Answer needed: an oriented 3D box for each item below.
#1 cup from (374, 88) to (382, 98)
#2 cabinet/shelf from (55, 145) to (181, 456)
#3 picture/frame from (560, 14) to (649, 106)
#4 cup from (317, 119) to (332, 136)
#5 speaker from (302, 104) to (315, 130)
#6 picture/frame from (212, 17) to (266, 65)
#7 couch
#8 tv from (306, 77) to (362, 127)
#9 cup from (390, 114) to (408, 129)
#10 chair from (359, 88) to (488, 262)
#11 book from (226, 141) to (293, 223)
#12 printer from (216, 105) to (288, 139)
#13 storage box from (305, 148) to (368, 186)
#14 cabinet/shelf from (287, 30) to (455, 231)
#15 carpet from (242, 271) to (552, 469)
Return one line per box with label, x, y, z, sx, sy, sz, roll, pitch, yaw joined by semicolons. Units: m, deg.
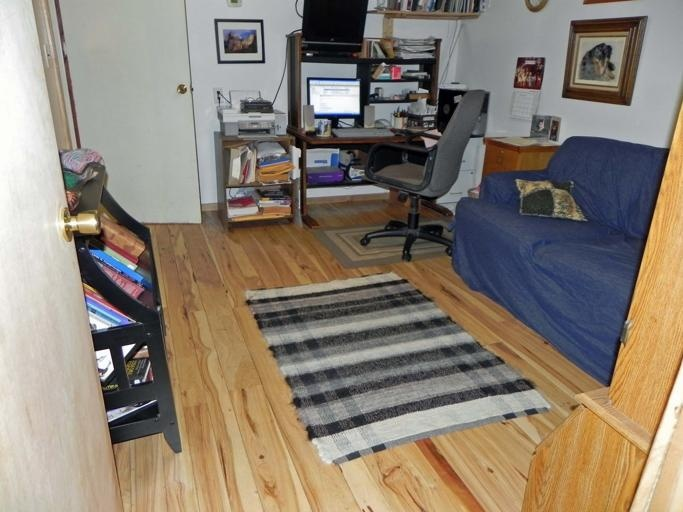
cup;0.321;-1.487;4.503;0.061;0.100;0.069;10;65;-4
cabinet/shelf;-0.912;0.149;2.094;0.329;0.799;0.861;-9;29;-22
picture/frame;1.771;-1.361;3.430;0.601;0.495;0.035;-6;21;-17
cup;-0.148;-1.049;4.036;0.180;0.163;0.138;1;18;-4
speaker;-0.273;-1.135;4.063;0.093;0.187;0.148;0;25;-2
picture/frame;-0.881;-1.804;4.109;0.418;0.326;0.030;-5;25;-18
couch;1.383;-0.055;2.748;0.844;0.871;1.450;-12;29;-18
tv;-0.090;-1.362;4.326;0.569;0.496;0.179;-3;26;-10
cup;0.499;-1.206;4.453;0.129;0.163;0.166;-5;22;-12
chair;0.589;-0.600;3.651;0.776;1.081;0.690;14;22;38
book;-0.709;-0.642;4.139;0.582;0.694;0.396;-6;26;-14
printer;-0.724;-1.081;3.990;0.522;0.191;0.220;-4;25;-11
storage box;-0.038;-0.776;4.392;0.436;0.144;0.412;-2;29;-8
cabinet/shelf;0.221;-1.092;4.193;1.607;1.730;0.904;-8;33;-13
carpet;0.166;0.447;2.668;1.129;0.017;1.572;-6;19;-19
